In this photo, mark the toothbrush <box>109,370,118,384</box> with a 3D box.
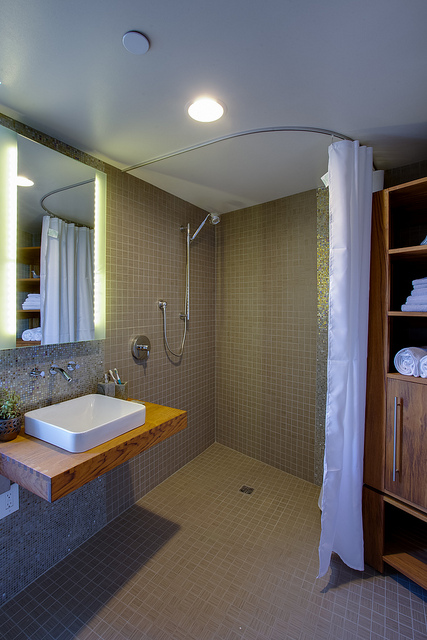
[{"bbox_3d":[-0.558,0.325,2.503,0.015,0.071,0.021,-19,-26,-27],"label":"toothbrush"}]

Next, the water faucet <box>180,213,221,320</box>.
[{"bbox_3d":[-0.111,-0.378,3.229,0.330,0.923,0.120,-10,-26,20],"label":"water faucet"}]

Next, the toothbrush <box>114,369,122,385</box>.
[{"bbox_3d":[-0.536,0.308,2.495,0.026,0.020,0.138,40,8,-35],"label":"toothbrush"}]

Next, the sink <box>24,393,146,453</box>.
[{"bbox_3d":[-0.585,0.491,2.092,0.413,0.164,0.490,5,9,30],"label":"sink"}]

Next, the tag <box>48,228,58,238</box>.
[{"bbox_3d":[-0.794,-0.432,2.222,0.006,0.045,0.059,3,8,23],"label":"tag"}]

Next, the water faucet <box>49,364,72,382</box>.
[{"bbox_3d":[-0.766,0.279,2.268,0.029,0.093,0.068,-20,22,41],"label":"water faucet"}]
